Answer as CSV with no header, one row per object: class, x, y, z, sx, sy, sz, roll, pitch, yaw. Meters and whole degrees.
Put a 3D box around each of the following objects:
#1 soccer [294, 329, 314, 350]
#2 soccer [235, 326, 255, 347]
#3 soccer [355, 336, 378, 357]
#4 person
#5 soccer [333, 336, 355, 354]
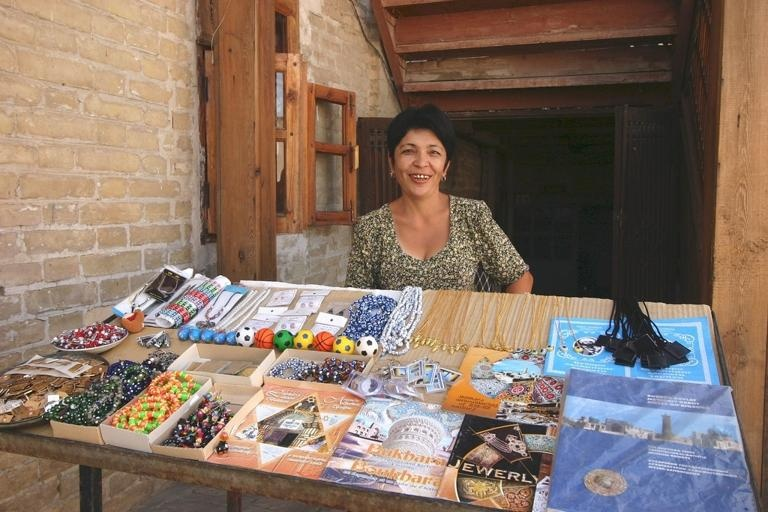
soccer,-0.278,0.295,1.832,0.067,0.068,0.063,5,24,-27
soccer,-0.480,0.289,1.892,0.071,0.071,0.066,-2,27,8
soccer,-0.054,0.309,1.772,0.068,0.063,0.063,3,21,8
person,0.264,-0.275,2.520,0.869,0.908,0.349,3,6,14
soccer,-0.132,0.306,1.802,0.065,0.065,0.059,7,-9,18
